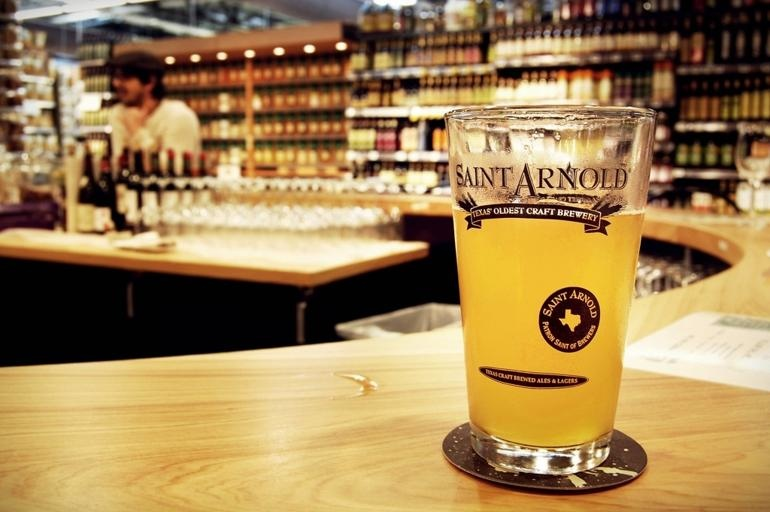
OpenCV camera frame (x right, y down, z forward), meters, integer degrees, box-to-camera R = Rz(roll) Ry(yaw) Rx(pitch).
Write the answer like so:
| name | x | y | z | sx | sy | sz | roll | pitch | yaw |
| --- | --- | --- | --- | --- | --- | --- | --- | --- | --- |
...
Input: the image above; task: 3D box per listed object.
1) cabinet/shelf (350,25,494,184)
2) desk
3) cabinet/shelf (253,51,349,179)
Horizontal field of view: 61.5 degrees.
| name | x | y | z | sx | sy | sz | roll | pitch | yaw |
| --- | --- | --- | --- | --- | --- | --- | --- | --- | --- |
| cabinet/shelf | 0.616 | -1.669 | 7.273 | 2.003 | 1.762 | 0.720 | 7 | 13 | 35 |
| desk | -0.776 | 0.095 | 2.880 | 1.622 | 0.418 | 0.779 | 4 | 12 | 22 |
| cabinet/shelf | -1.153 | -1.855 | 8.513 | 1.728 | 1.547 | 0.545 | 6 | 14 | 31 |
